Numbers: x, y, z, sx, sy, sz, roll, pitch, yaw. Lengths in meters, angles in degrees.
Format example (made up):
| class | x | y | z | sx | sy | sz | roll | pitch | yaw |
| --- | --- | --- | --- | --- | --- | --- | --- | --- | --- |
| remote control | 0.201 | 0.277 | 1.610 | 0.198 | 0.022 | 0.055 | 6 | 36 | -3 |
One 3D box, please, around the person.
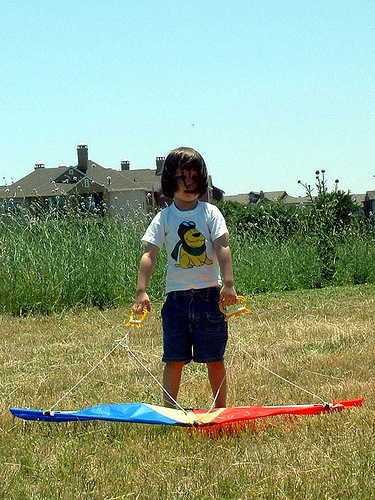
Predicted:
| class | x | y | z | sx | sy | sz | roll | pitch | yaw |
| --- | --- | --- | --- | --- | --- | --- | --- | --- | --- |
| person | -0.004 | 0.119 | 3.241 | 0.428 | 1.143 | 0.400 | 0 | 4 | 1 |
